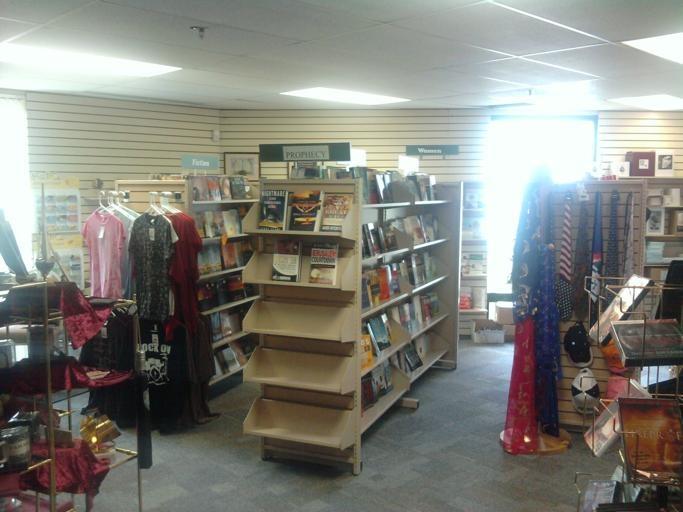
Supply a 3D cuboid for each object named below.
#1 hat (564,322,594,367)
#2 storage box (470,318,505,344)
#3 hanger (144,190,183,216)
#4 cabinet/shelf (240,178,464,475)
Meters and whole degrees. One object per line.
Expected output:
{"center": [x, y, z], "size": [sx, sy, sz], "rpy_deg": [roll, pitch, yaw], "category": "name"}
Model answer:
{"center": [2.446, 0.924, 5.372], "size": [0.284, 0.425, 0.143], "rpy_deg": [-18, -5, 32], "category": "hat"}
{"center": [2.567, 1.354, 9.184], "size": [0.436, 0.270, 0.435], "rpy_deg": [1, 1, 13], "category": "storage box"}
{"center": [-2.025, -0.609, 5.976], "size": [0.359, 0.332, 0.366], "rpy_deg": [3, -5, -22], "category": "hanger"}
{"center": [0.064, 0.784, 5.509], "size": [0.886, 1.929, 3.065], "rpy_deg": [1, 4, 18], "category": "cabinet/shelf"}
